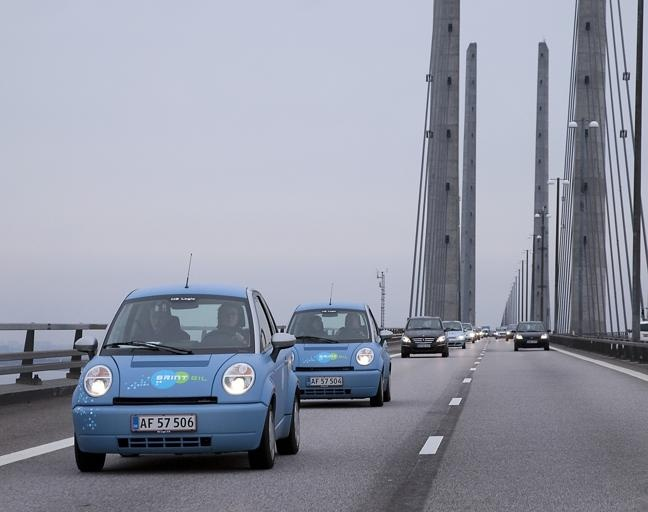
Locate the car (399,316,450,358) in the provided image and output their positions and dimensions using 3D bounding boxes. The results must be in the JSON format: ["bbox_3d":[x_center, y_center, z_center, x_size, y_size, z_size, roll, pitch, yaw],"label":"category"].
[{"bbox_3d":[6.116,4.949,33.730,2.573,2.564,2.638,-5,-10,16],"label":"car"}]

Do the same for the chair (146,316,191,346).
[{"bbox_3d":[-1.606,0.781,5.713,0.310,0.324,0.324,1,-4,1],"label":"chair"}]

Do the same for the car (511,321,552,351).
[{"bbox_3d":[16.170,6.265,43.096,2.319,2.363,2.948,-10,-12,36],"label":"car"}]

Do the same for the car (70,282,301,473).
[{"bbox_3d":[-1.336,1.135,5.229,1.705,1.790,1.122,-3,-9,4],"label":"car"}]
